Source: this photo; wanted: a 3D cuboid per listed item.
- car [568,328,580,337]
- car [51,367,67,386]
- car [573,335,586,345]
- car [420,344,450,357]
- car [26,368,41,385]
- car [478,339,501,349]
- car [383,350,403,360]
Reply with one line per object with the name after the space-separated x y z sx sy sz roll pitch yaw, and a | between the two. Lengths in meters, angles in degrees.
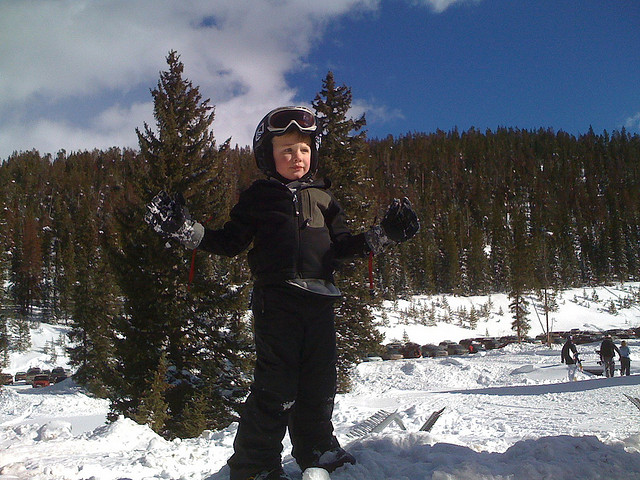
25.810 9.364 64.544 1.205 0.750 1.814 -2 -4 12 | car
-23.106 12.041 55.877 1.063 1.114 1.913 5 2 -8 | car
24.002 9.179 58.949 0.908 0.720 3.003 -7 -10 26 | car
9.926 9.656 55.578 2.423 0.989 2.331 -5 -9 13 | car
-25.227 11.880 55.589 0.939 0.898 1.625 0 -2 -13 | car
15.651 9.588 58.559 1.664 0.765 3.522 -5 -9 10 | car
6.236 9.856 54.567 1.555 0.701 2.386 -5 -9 11 | car
